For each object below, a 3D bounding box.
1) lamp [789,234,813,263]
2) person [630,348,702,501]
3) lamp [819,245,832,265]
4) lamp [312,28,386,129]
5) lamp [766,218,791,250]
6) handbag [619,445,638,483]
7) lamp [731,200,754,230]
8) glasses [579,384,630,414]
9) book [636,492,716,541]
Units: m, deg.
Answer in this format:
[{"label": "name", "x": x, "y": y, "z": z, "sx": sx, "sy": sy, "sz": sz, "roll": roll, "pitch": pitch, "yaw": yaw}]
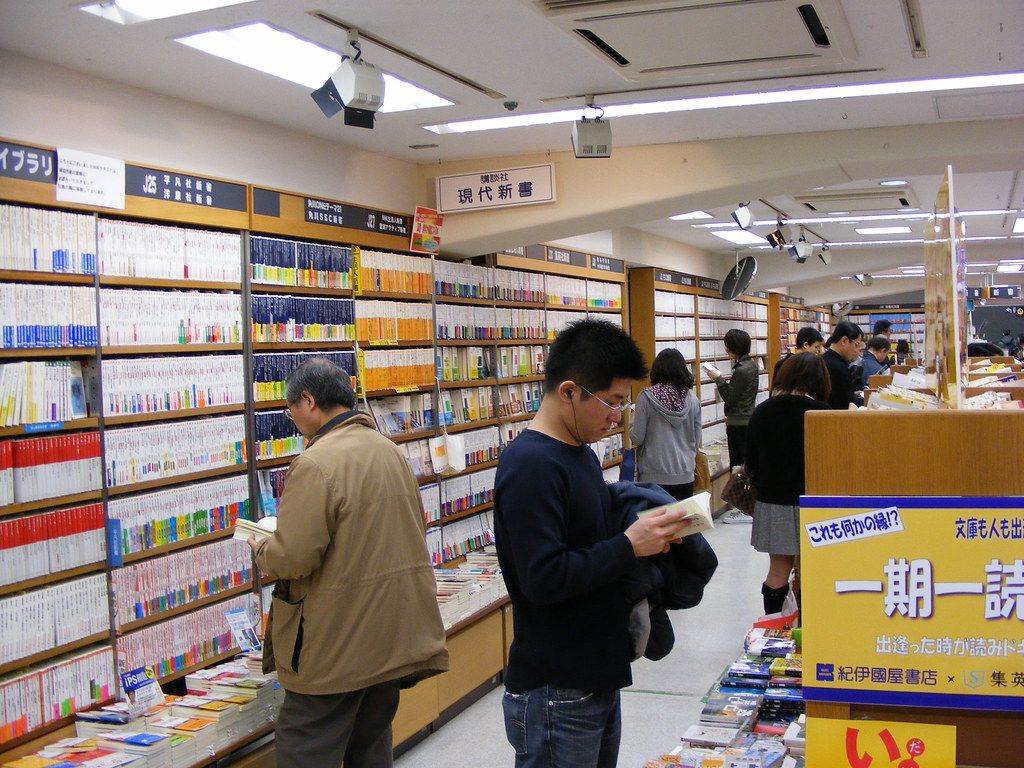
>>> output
[{"label": "lamp", "x": 3.724, "y": -1.764, "z": 9.715, "sx": 0.207, "sy": 0.274, "sz": 0.389, "roll": -30, "pitch": 33, "yaw": 5}, {"label": "person", "x": 1.280, "y": 0.562, "z": 6.398, "sx": 0.577, "sy": 1.701, "sz": 0.594, "roll": -7, "pitch": 20, "yaw": -13}, {"label": "lamp", "x": 4.832, "y": -1.992, "z": 11.623, "sx": 0.105, "sy": 0.346, "sz": 0.333, "roll": -20, "pitch": -2, "yaw": 27}, {"label": "lamp", "x": -0.762, "y": -1.432, "z": 3.480, "sx": 0.340, "sy": 0.437, "sz": 0.222, "roll": -6, "pitch": 18, "yaw": -42}, {"label": "lamp", "x": 3.204, "y": -1.812, "z": 9.155, "sx": 0.175, "sy": 0.291, "sz": 0.303, "roll": -19, "pitch": 29, "yaw": 27}, {"label": "handbag", "x": 0.966, "y": 0.694, "z": 6.344, "sx": 0.080, "sy": 0.366, "sz": 0.362, "roll": 4, "pitch": -2, "yaw": -7}, {"label": "lamp", "x": 2.171, "y": -1.596, "z": 7.103, "sx": 0.130, "sy": 0.271, "sz": 0.666, "roll": 1, "pitch": 3, "yaw": 19}, {"label": "glasses", "x": 0.272, "y": 0.049, "z": 2.257, "sx": 0.027, "sy": 0.097, "sz": 0.097, "roll": -49, "pitch": -10, "yaw": 9}, {"label": "book", "x": 0.492, "y": 0.368, "z": 2.179, "sx": 0.149, "sy": 0.057, "sz": 0.156, "roll": -17, "pitch": -8, "yaw": 18}]
